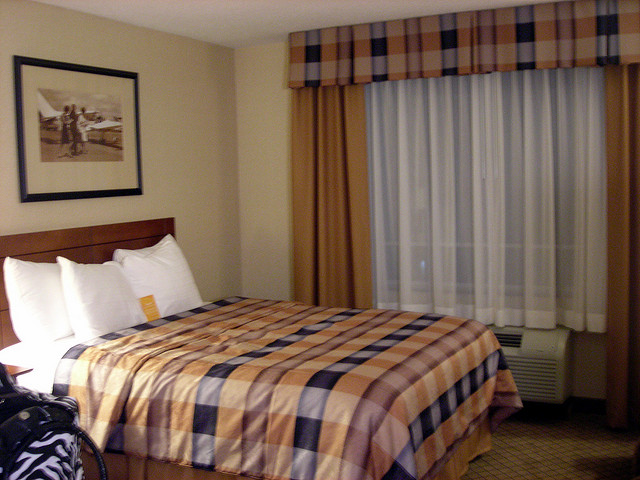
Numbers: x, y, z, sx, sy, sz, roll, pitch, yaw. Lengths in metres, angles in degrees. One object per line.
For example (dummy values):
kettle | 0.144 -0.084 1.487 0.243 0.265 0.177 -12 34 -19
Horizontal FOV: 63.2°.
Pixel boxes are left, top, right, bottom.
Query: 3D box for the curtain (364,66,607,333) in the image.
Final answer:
curtain | 1.430 -0.351 4.270 2.130 2.149 0.256 0 3 21
